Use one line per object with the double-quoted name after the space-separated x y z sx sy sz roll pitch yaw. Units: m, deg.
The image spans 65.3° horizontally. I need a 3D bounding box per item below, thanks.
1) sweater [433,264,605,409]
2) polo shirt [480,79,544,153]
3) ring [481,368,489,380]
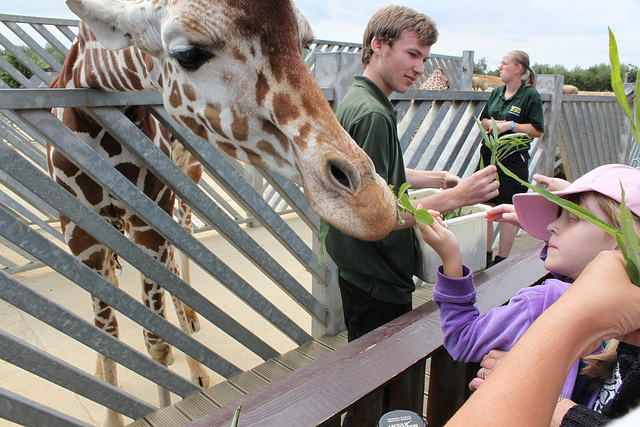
0.786 0.456 2.042 0.677 0.477 0.286 9 27 31 "sweater"
1.893 -1.022 4.974 0.633 0.672 0.379 16 9 40 "polo shirt"
0.685 0.683 2.106 0.034 0.038 0.035 -6 -18 -2 "ring"
